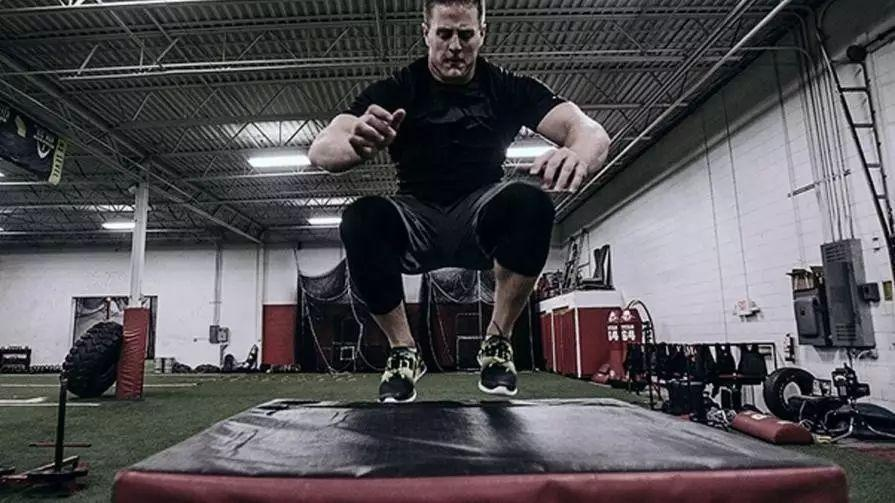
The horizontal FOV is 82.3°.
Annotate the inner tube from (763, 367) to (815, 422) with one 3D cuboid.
[{"bbox_3d":[5.626,2.383,8.411,1.052,0.993,0.352,-3,-2,-9],"label":"inner tube"}]

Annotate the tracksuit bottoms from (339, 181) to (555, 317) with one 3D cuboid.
[{"bbox_3d":[-0.008,0.036,5.780,2.370,1.458,1.332,-4,-28,1],"label":"tracksuit bottoms"}]

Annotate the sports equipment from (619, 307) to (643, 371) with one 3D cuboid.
[{"bbox_3d":[4.413,2.204,12.420,0.534,1.499,0.799,-1,-1,17],"label":"sports equipment"}]

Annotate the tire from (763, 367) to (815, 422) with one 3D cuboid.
[{"bbox_3d":[5.626,2.383,8.411,1.052,0.993,0.352,-3,-2,-9],"label":"tire"}]

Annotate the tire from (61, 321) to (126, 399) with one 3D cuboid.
[{"bbox_3d":[-6.250,1.979,9.076,0.816,1.372,0.690,0,-1,-35],"label":"tire"}]

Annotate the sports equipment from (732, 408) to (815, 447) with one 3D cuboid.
[{"bbox_3d":[4.665,2.602,7.440,0.527,0.207,0.715,7,-9,-13],"label":"sports equipment"}]
